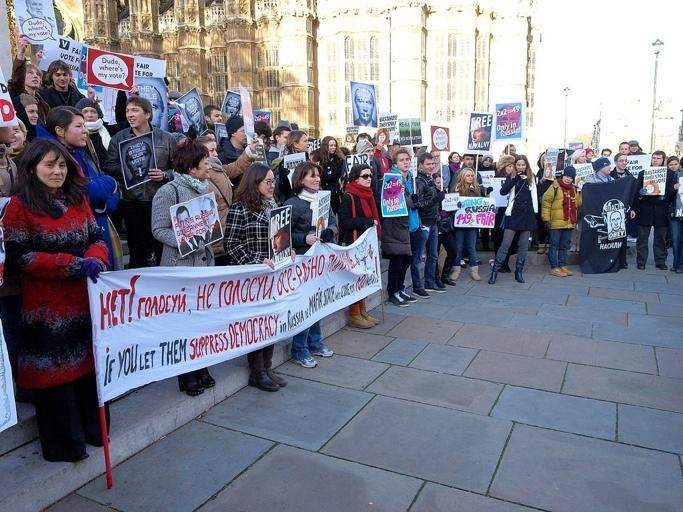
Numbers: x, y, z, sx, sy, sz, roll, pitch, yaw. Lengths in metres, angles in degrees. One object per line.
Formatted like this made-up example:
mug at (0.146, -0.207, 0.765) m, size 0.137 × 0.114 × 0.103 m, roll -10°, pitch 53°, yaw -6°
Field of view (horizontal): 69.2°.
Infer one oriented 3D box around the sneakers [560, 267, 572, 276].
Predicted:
sneakers at (4.537, 0.313, 10.030) m, size 0.118 × 0.134 × 0.326 m, roll -4°, pitch 12°, yaw -8°

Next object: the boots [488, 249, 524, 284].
boots at (3.171, 0.214, 9.490) m, size 0.571 × 0.598 × 0.628 m, roll 3°, pitch 1°, yaw 14°

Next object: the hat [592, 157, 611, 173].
hat at (5.573, -1.924, 10.604) m, size 0.295 × 0.307 × 0.384 m, roll -10°, pitch 22°, yaw -30°

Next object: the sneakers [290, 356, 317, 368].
sneakers at (-0.429, 1.192, 5.636) m, size 0.246 × 0.118 × 0.108 m, roll 2°, pitch 7°, yaw 23°

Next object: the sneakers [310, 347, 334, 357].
sneakers at (-0.240, 1.155, 5.888) m, size 0.245 × 0.118 × 0.115 m, roll 2°, pitch 5°, yaw 8°

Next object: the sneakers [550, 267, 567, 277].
sneakers at (4.360, 0.348, 9.921) m, size 0.110 × 0.124 × 0.301 m, roll -10°, pitch 8°, yaw -29°

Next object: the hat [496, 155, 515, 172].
hat at (3.263, -1.808, 9.754) m, size 0.257 × 0.303 × 0.325 m, roll -8°, pitch 5°, yaw -38°

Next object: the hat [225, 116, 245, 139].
hat at (-1.375, -1.649, 6.324) m, size 0.288 × 0.302 × 0.223 m, roll -2°, pitch 9°, yaw -8°

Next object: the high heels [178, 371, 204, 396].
high heels at (-1.400, 1.181, 4.585) m, size 0.122 × 0.165 × 0.331 m, roll -3°, pitch 3°, yaw -40°

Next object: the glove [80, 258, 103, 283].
glove at (-1.748, 0.100, 3.479) m, size 0.076 × 0.174 × 0.181 m, roll 4°, pitch 13°, yaw 20°

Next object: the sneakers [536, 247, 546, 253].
sneakers at (4.566, -0.125, 11.285) m, size 0.122 × 0.145 × 0.351 m, roll 0°, pitch 5°, yaw 25°

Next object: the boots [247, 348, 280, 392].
boots at (-0.789, 1.166, 5.083) m, size 0.387 × 0.393 × 0.188 m, roll 7°, pitch 6°, yaw 10°

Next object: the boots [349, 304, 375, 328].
boots at (0.296, 0.843, 6.904) m, size 0.345 × 0.342 × 0.305 m, roll 1°, pitch 8°, yaw 8°

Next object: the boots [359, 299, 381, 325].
boots at (0.410, 0.809, 7.067) m, size 0.450 × 0.328 × 0.176 m, roll 8°, pitch 15°, yaw 12°

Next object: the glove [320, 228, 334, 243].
glove at (-0.174, -0.238, 5.984) m, size 0.133 × 0.183 × 0.179 m, roll 3°, pitch 7°, yaw 5°
